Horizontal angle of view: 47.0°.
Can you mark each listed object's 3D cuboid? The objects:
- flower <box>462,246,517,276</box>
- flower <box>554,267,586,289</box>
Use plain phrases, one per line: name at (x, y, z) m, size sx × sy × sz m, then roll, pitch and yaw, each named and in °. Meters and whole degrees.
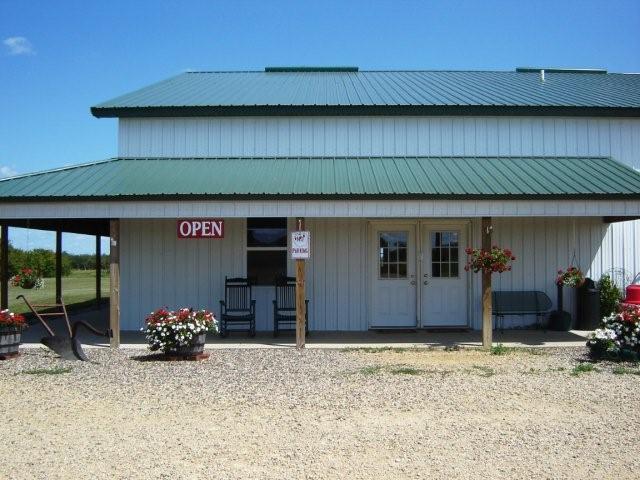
flower at (3.574, 0.446, 15.938) m, size 0.883 × 0.580 × 0.893 m, roll 0°, pitch 1°, yaw -23°
flower at (5.858, 0.895, 17.357) m, size 0.492 × 0.366 × 0.657 m, roll 2°, pitch 3°, yaw -1°
